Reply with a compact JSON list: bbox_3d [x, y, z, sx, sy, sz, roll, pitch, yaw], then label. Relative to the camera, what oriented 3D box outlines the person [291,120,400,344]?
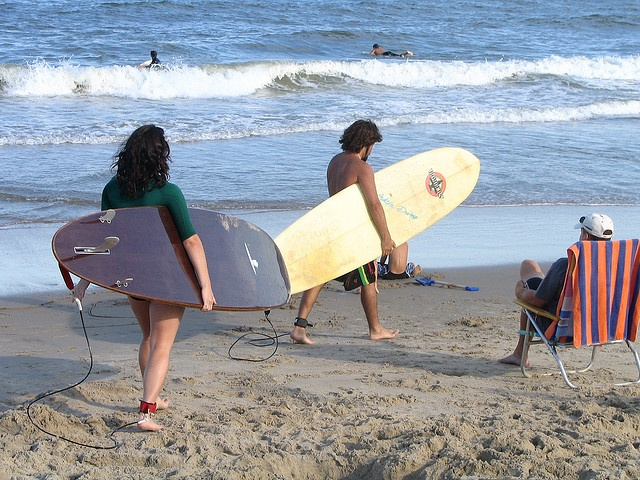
[{"bbox_3d":[0.371,-0.133,12.824,1.258,2.666,1.120,1,11,2],"label":"person"}]

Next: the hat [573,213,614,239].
[{"bbox_3d":[3.135,-0.163,11.802,0.303,0.169,0.397,0,16,-34],"label":"hat"}]

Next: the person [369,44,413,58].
[{"bbox_3d":[1.942,-5.311,29.678,1.137,0.299,0.591,11,13,33],"label":"person"}]

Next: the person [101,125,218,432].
[{"bbox_3d":[-1.718,0.400,11.092,1.146,3.215,0.710,-1,11,-10],"label":"person"}]

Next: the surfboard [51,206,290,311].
[{"bbox_3d":[-1.499,0.238,11.439,0.588,1.237,3.338,-41,-27,30],"label":"surfboard"}]

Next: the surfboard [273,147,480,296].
[{"bbox_3d":[0.540,-0.328,13.626,4.316,0.988,0.612,-26,14,-35],"label":"surfboard"}]
